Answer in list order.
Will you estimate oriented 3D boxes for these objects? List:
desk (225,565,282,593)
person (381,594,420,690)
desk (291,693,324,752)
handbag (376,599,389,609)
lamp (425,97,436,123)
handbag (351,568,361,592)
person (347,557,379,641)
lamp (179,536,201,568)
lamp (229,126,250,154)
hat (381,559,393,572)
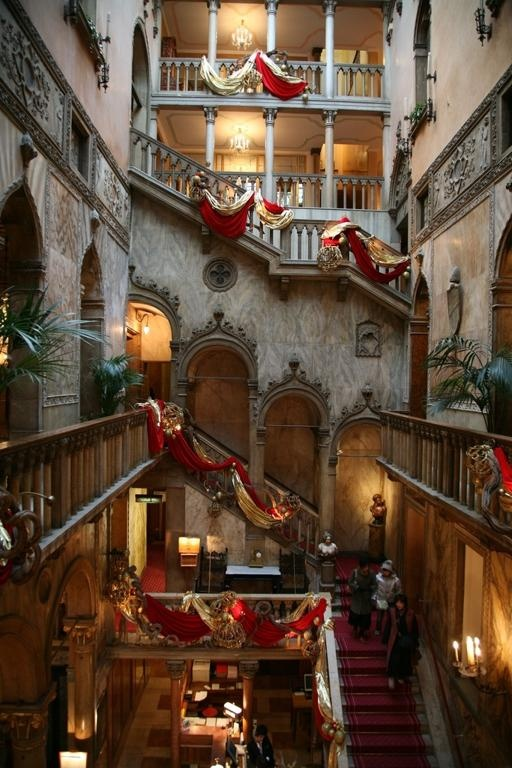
[{"bbox_3d":[-0.038,3.542,10.995,1.034,0.428,0.806,4,-6,3],"label":"desk"},{"bbox_3d":[1.941,3.361,7.957,0.448,1.438,0.413,3,26,17],"label":"person"},{"bbox_3d":[0.780,5.478,9.741,0.300,0.599,0.458,2,-19,1],"label":"desk"},{"bbox_3d":[1.862,3.217,8.812,0.150,0.184,0.121,-4,10,-4],"label":"handbag"},{"bbox_3d":[2.684,-4.158,9.246,0.117,0.425,0.371,2,-6,9],"label":"lamp"},{"bbox_3d":[1.478,2.838,8.799,0.180,0.319,0.123,1,-3,6],"label":"handbag"},{"bbox_3d":[1.583,3.172,8.941,0.342,1.214,0.382,5,11,17],"label":"person"},{"bbox_3d":[-1.224,3.105,11.526,0.437,0.530,0.712,6,11,-1],"label":"lamp"},{"bbox_3d":[-0.407,-6.481,16.066,0.503,0.994,0.581,1,13,4],"label":"lamp"},{"bbox_3d":[1.896,2.619,8.687,0.110,0.158,0.250,1,-7,25],"label":"hat"}]
